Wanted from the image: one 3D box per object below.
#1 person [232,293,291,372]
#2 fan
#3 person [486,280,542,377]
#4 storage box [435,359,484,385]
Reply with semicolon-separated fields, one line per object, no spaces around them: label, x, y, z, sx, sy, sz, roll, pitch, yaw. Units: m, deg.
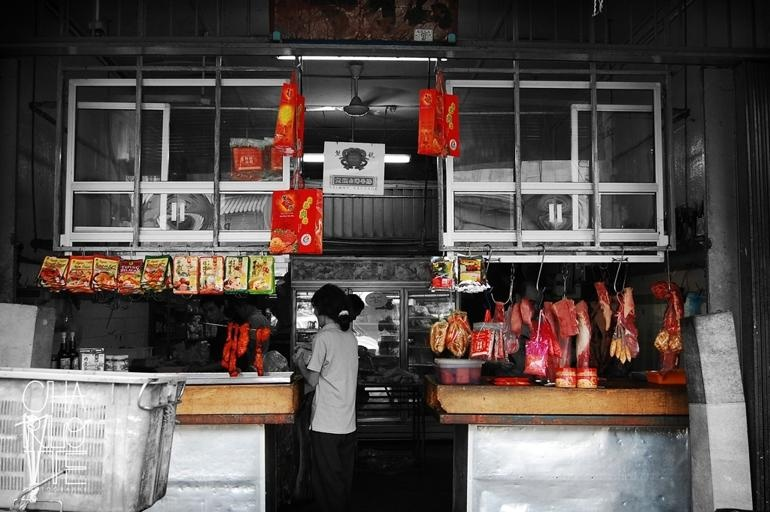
person;-1.303;0.831;10.097;0.332;0.502;1.002;-21;14;-5
fan;-0.050;-1.914;11.328;0.577;0.939;0.590;-1;-5;0
person;1.433;0.880;10.654;0.790;1.333;0.332;-1;5;2
storage box;0.655;1.017;8.460;0.293;0.148;0.234;2;-5;-3
